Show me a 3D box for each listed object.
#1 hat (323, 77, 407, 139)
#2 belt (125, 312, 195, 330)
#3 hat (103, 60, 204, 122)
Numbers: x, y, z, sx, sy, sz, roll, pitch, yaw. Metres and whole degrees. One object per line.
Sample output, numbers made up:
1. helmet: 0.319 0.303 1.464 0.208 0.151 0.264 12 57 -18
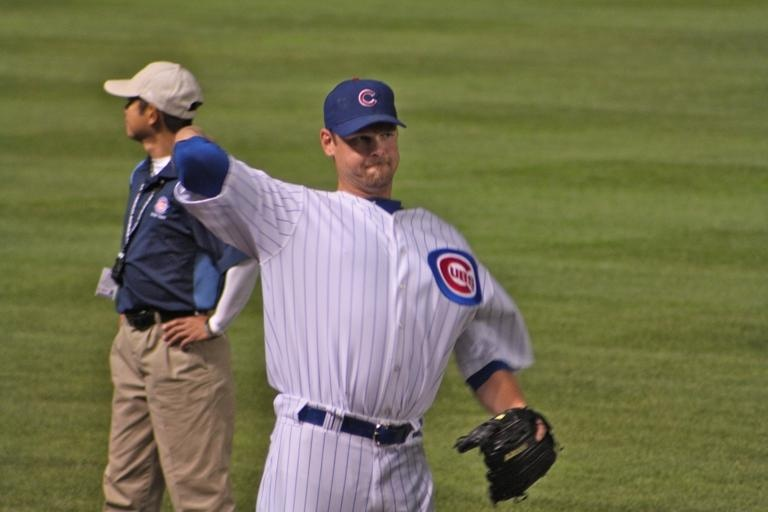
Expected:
1. hat: -0.230 -1.275 14.284 0.478 0.363 0.628 -10 12 -30
2. belt: -2.063 0.555 14.958 0.329 0.117 0.244 5 -5 2
3. hat: -2.056 -1.586 15.244 0.785 0.372 0.483 20 12 -6
